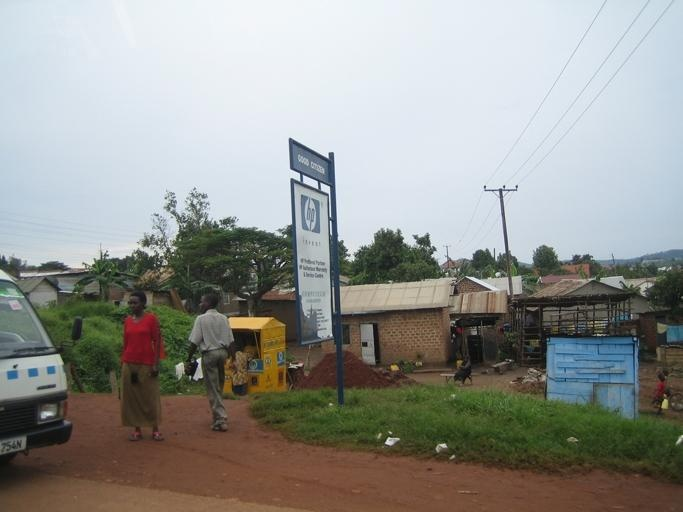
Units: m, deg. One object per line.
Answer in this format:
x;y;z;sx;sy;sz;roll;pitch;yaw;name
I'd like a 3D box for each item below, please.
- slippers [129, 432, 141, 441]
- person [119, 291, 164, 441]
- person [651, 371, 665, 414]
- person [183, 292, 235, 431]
-3.256;2.809;8.846;0.137;0.105;0.260;2;-10;-2;slippers
-3.119;1.690;8.731;0.630;2.271;0.395;0;2;-18;person
8.807;3.730;15.562;0.275;0.989;1.045;2;2;28;person
-2.283;1.787;9.685;0.722;2.326;0.696;0;2;-14;person
